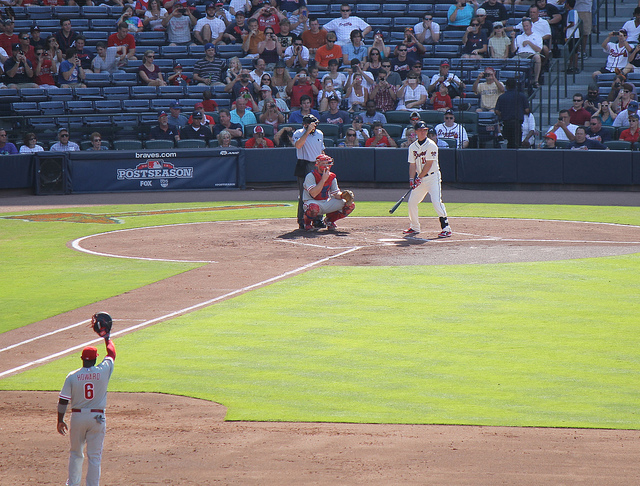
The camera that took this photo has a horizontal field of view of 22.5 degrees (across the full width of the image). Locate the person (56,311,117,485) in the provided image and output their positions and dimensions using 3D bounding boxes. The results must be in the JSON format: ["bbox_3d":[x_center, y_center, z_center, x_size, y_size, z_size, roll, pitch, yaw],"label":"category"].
[{"bbox_3d":[-4.248,2.911,28.906,0.876,3.099,1.171,1,16,11],"label":"person"}]

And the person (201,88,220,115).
[{"bbox_3d":[-3.355,-4.286,48.637,0.518,0.695,0.628,6,16,26],"label":"person"}]

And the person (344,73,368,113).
[{"bbox_3d":[1.104,-4.505,48.450,0.659,1.128,0.573,1,16,8],"label":"person"}]

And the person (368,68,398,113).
[{"bbox_3d":[1.855,-4.552,48.430,0.916,1.194,0.554,12,21,42],"label":"person"}]

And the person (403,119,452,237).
[{"bbox_3d":[2.603,-1.533,39.020,1.197,2.880,0.952,-1,16,3],"label":"person"}]

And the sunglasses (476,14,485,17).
[{"bbox_3d":[5.027,-7.148,50.389,0.264,0.089,0.140,5,15,25],"label":"sunglasses"}]

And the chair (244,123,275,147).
[{"bbox_3d":[-1.811,-3.253,47.723,0.728,0.586,0.644,1,3,-4],"label":"chair"}]

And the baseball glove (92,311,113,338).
[{"bbox_3d":[-3.921,1.515,29.234,0.501,0.444,0.508,8,6,-18],"label":"baseball glove"}]

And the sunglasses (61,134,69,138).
[{"bbox_3d":[-7.432,-3.111,46.867,0.118,0.112,0.268,7,15,30],"label":"sunglasses"}]

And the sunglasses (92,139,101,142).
[{"bbox_3d":[-6.532,-2.977,46.926,0.208,0.084,0.132,-8,15,-27],"label":"sunglasses"}]

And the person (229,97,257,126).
[{"bbox_3d":[-2.296,-3.884,47.959,1.185,0.791,0.539,-2,11,-14],"label":"person"}]

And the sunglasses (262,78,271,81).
[{"bbox_3d":[-1.625,-4.954,48.684,0.189,0.089,0.090,-2,14,-2],"label":"sunglasses"}]

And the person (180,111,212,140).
[{"bbox_3d":[-3.693,-3.459,47.798,1.236,0.924,0.615,1,0,-13],"label":"person"}]

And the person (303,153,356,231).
[{"bbox_3d":[0.176,-1.179,39.668,1.216,1.975,0.658,-2,16,-1],"label":"person"}]

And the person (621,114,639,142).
[{"bbox_3d":[8.812,-3.270,45.655,0.275,0.765,0.523,-17,21,-42],"label":"person"}]

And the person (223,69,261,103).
[{"bbox_3d":[-2.321,-4.745,48.792,1.001,1.002,1.003,-4,14,-8],"label":"person"}]

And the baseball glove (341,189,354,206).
[{"bbox_3d":[0.689,-1.083,39.768,0.404,0.452,0.535,-1,8,3],"label":"baseball glove"}]

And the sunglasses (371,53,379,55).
[{"bbox_3d":[1.707,-5.819,49.365,0.174,0.046,0.061,-1,14,1],"label":"sunglasses"}]

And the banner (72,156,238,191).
[{"bbox_3d":[-4.863,-2.069,47.372,5.810,1.206,0.512,0,-6,20],"label":"banner"}]

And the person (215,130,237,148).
[{"bbox_3d":[-2.805,-3.037,47.265,0.833,0.564,0.480,-1,-6,-12],"label":"person"}]

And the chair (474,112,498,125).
[{"bbox_3d":[4.906,-3.667,47.392,0.663,0.339,0.448,0,2,7],"label":"chair"}]
